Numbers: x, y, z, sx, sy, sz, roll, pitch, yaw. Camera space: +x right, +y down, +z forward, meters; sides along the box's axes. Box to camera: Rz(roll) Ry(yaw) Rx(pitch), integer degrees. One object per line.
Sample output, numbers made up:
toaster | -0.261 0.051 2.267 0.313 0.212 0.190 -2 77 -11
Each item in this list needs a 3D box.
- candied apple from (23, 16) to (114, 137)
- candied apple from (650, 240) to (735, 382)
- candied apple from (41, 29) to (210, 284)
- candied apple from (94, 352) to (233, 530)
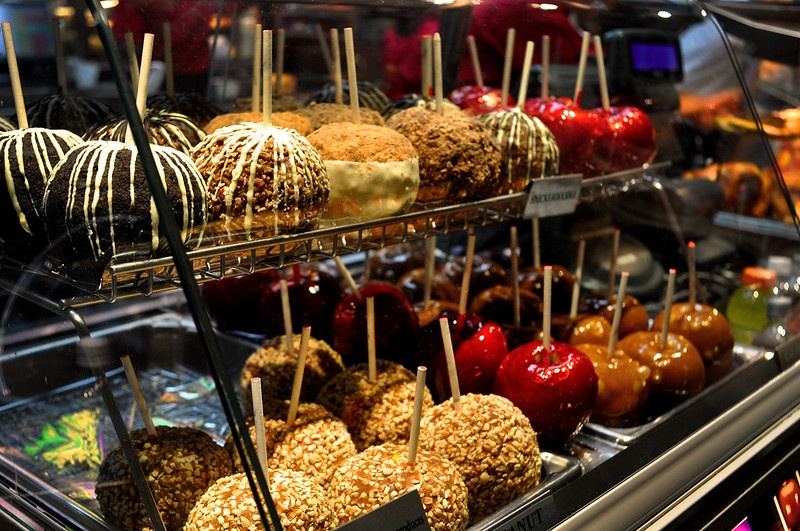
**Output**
candied apple | -0.660 -0.354 1.460 0.158 0.259 0.164 -3 11 -13
candied apple | 0.693 0.128 1.787 0.188 0.363 0.192 1 3 38
candied apple | -0.456 -0.184 1.231 0.260 0.367 0.295 -5 22 -15
candied apple | -0.408 0.301 1.270 0.193 0.257 0.166 9 23 21
